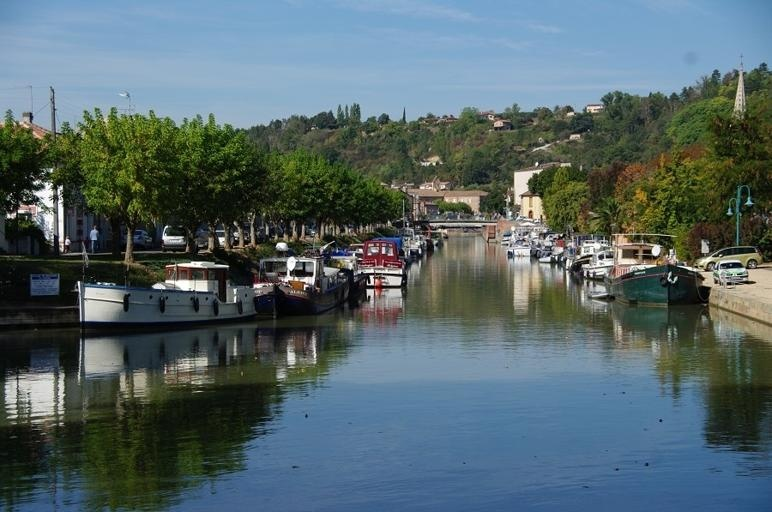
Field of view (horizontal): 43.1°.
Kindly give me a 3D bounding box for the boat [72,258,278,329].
[{"bbox_3d":[-14.763,2.969,64.323,10.724,3.662,4.449,-1,1,-44],"label":"boat"}]
